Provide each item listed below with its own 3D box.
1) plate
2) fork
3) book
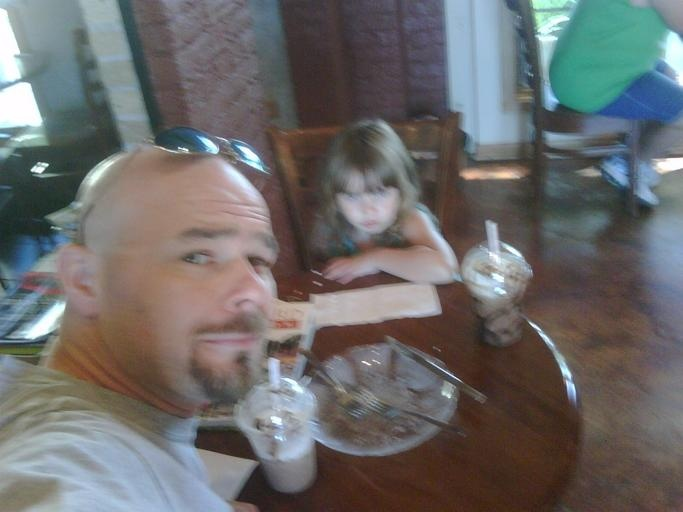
[{"bbox_3d":[0.039,0.163,0.620,0.174,0.026,0.155,-9,34,-4],"label":"plate"},{"bbox_3d":[0.044,0.177,0.640,0.196,0.027,0.043,14,58,23],"label":"fork"},{"bbox_3d":[-0.115,0.107,0.687,0.136,0.165,0.182,1,9,-14],"label":"book"}]
